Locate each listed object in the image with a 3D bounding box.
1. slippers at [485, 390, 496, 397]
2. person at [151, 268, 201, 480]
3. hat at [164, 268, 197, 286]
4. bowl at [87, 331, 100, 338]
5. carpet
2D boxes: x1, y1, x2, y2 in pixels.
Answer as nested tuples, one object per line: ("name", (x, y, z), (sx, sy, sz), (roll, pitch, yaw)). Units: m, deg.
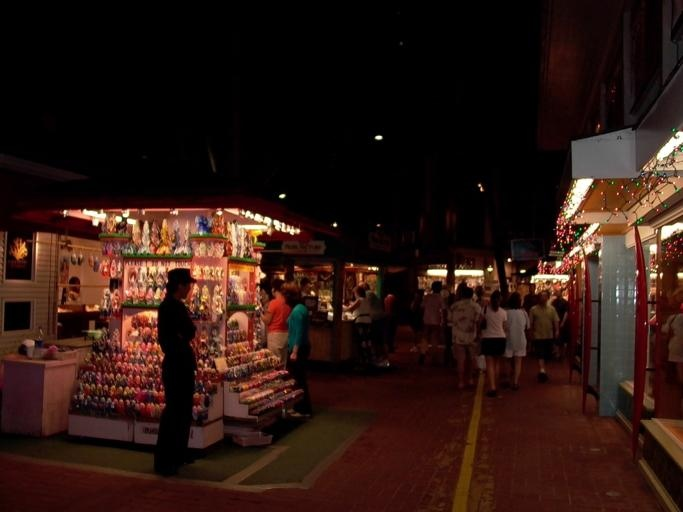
("slippers", (3.224, 2.982, 11.726), (0.216, 0.142, 0.298), (0, -2, 21))
("person", (-2.192, 1.501, 7.170), (0.494, 2.654, 0.430), (2, -2, -21))
("hat", (-2.212, 0.295, 7.391), (0.278, 0.166, 0.211), (4, -2, -6))
("bowl", (-4.512, 1.437, 9.862), (0.210, 0.114, 0.261), (3, -13, 19))
("carpet", (-1.786, 2.831, 7.618), (5.121, 0.091, 2.666), (2, -2, -17))
